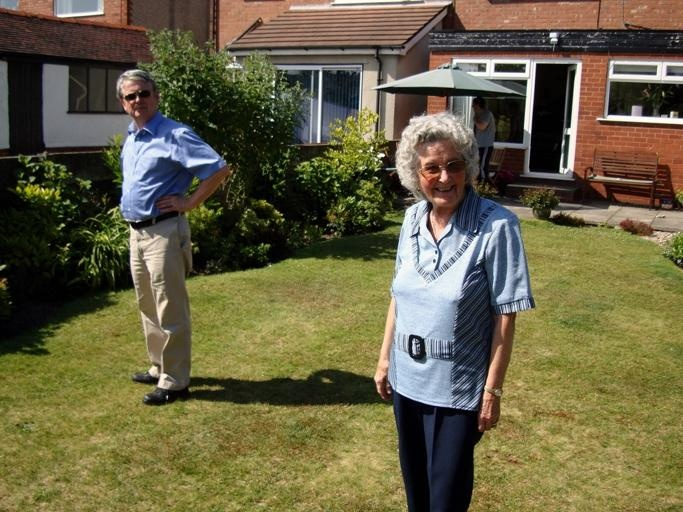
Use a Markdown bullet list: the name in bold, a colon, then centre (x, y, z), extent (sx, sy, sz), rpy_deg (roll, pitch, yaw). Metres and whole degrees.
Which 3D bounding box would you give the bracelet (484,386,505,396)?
- **bracelet**: centre (0.905, 0.780, 3.996), extent (0.061, 0.032, 0.065), rpy_deg (1, 7, -36)

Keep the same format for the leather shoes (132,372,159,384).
- **leather shoes**: centre (-1.785, 1.107, 6.335), extent (0.252, 0.113, 0.102), rpy_deg (11, 1, 1)

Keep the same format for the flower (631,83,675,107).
- **flower**: centre (6.995, -3.448, 14.914), extent (0.501, 0.444, 0.515), rpy_deg (4, 1, 3)

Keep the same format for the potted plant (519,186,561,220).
- **potted plant**: centre (3.804, -0.996, 12.681), extent (0.603, 0.611, 0.612), rpy_deg (-7, 8, -41)

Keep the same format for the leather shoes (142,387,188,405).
- **leather shoes**: centre (-1.517, 1.208, 6.088), extent (0.382, 0.168, 0.139), rpy_deg (9, -2, -30)

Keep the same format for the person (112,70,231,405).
- **person**: centre (-1.513, -0.151, 5.960), extent (0.955, 2.800, 0.447), rpy_deg (5, 9, 23)
